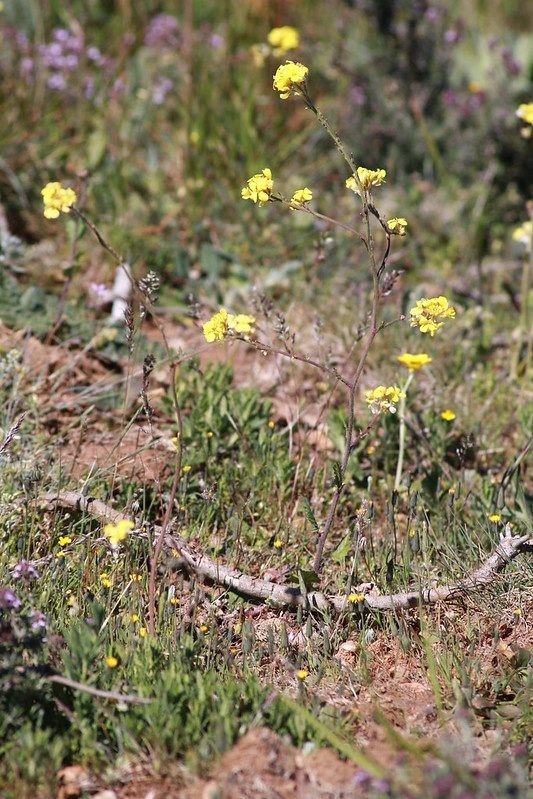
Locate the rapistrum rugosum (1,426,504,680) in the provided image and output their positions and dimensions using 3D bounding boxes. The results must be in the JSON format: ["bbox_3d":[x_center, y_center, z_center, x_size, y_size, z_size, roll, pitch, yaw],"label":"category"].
[{"bbox_3d":[-0.153,0.528,2.488,1.119,0.188,0.752,14,15,-7],"label":"rapistrum rugosum"}]
